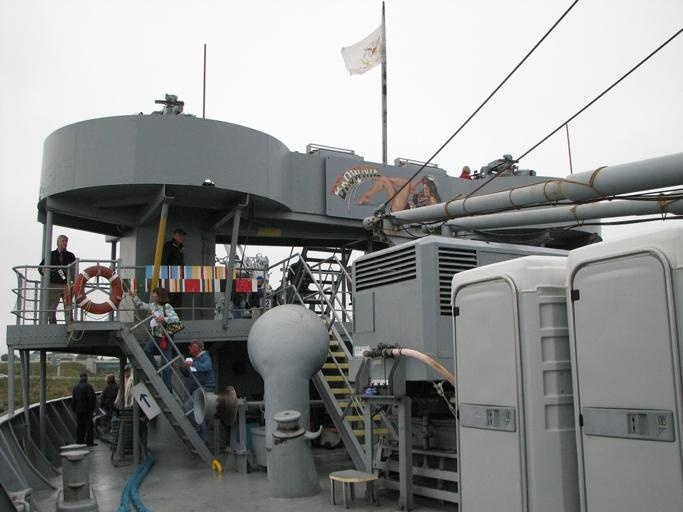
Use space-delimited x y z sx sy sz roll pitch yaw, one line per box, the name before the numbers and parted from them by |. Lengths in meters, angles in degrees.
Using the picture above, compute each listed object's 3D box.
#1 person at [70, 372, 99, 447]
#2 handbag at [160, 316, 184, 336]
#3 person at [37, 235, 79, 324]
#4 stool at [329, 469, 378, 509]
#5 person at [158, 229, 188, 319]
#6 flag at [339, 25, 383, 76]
person | -6.547 3.804 19.007 0.729 2.370 0.676 3 -3 -26
handbag | -3.647 1.484 16.093 0.353 0.340 0.305 -10 1 -9
person | -6.521 0.667 17.332 0.705 2.219 0.638 -5 19 -34
stool | 0.148 3.764 12.388 0.713 0.587 0.674 3 -9 -24
person | -4.099 0.467 18.585 0.610 2.856 0.653 4 -1 -28
flag | 0.639 -6.241 23.283 1.190 1.265 0.335 -3 -5 19
